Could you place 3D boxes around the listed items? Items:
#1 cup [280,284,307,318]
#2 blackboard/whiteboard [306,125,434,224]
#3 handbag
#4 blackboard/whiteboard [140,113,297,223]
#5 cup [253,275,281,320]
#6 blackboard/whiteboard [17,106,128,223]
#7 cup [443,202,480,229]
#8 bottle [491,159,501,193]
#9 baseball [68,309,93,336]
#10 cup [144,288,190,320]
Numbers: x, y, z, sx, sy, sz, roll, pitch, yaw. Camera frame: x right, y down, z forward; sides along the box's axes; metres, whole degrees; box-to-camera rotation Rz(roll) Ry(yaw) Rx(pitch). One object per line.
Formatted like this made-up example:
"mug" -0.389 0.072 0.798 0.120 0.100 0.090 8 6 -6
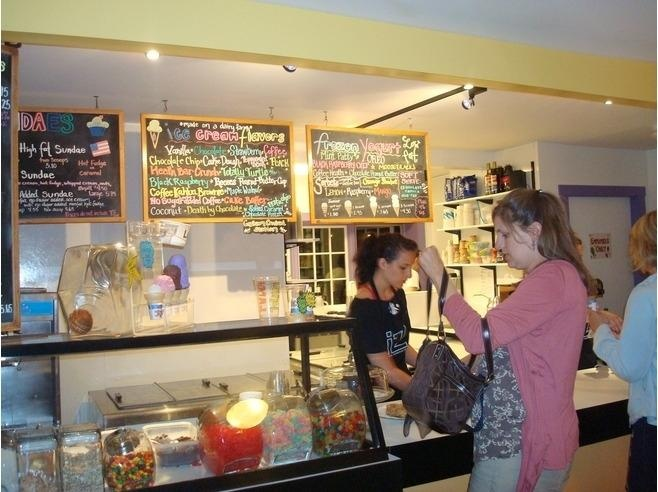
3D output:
"cup" -0.150 0.218 1.942 0.129 0.151 0.131 -1 -3 0
"blackboard/whiteboard" 0.362 -0.669 4.470 0.959 0.664 0.067 -2 4 -21
"handbag" 0.494 0.438 1.917 0.355 0.669 0.344 2 -12 34
"blackboard/whiteboard" -0.950 -0.640 3.946 1.064 0.735 0.047 0 2 -21
"cup" -0.241 0.205 1.846 0.116 0.173 0.124 -2 -2 0
"blackboard/whiteboard" -1.986 -0.621 3.623 1.008 0.965 0.043 0 -1 -28
"cup" 1.702 -0.382 6.227 0.185 0.341 0.577 3 -2 -21
"bottle" 1.998 -0.785 5.664 0.091 0.291 0.110 -2 1 19
"baseball" -0.827 0.254 1.590 0.066 0.084 0.066 14 -25 -37
"cup" -0.560 0.195 1.674 0.060 0.106 0.184 -2 1 22
